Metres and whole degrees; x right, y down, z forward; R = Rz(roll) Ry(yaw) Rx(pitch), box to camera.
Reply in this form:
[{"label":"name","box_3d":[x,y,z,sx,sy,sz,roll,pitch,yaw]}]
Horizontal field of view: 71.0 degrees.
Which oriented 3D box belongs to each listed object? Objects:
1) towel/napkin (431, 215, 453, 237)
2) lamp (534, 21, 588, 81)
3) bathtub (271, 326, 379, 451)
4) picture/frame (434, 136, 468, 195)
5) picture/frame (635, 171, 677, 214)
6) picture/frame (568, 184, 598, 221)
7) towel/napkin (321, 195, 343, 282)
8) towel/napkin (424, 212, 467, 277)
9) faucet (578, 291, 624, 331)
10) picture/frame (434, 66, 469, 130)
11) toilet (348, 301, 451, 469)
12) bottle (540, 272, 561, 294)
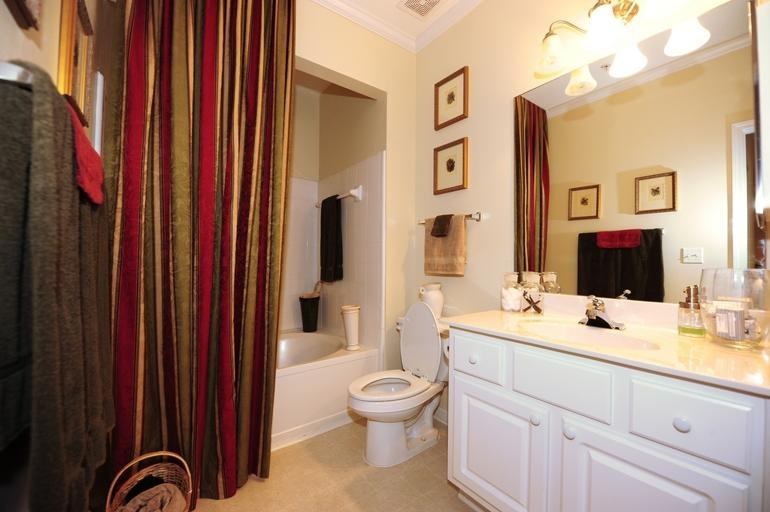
[{"label":"towel/napkin","box_3d":[0.384,-0.205,3.657,0.051,0.148,0.140,8,-2,-41]},{"label":"lamp","box_3d":[1.001,-1.149,3.033,0.261,0.417,0.170,22,-30,-9]},{"label":"bathtub","box_3d":[-0.489,0.876,3.716,0.684,0.305,0.677,3,-2,-38]},{"label":"picture/frame","box_3d":[0.444,-0.603,3.694,0.025,0.336,0.322,3,-5,-34]},{"label":"picture/frame","box_3d":[1.402,-0.328,2.776,0.220,0.269,0.026,0,-1,44]},{"label":"picture/frame","box_3d":[1.110,-0.298,3.006,0.023,0.218,0.190,1,3,-45]},{"label":"towel/napkin","box_3d":[-0.440,-0.140,4.364,0.143,0.686,0.323,0,2,-23]},{"label":"towel/napkin","box_3d":[0.417,-0.071,3.649,0.067,0.482,0.409,-1,3,-39]},{"label":"faucet","box_3d":[1.117,0.242,2.850,0.129,0.231,0.281,-3,0,-33]},{"label":"picture/frame","box_3d":[0.459,-1.066,3.669,0.036,0.488,0.474,0,0,-31]},{"label":"toilet","box_3d":[0.052,0.768,3.333,0.687,0.864,0.415,-6,7,-39]},{"label":"bottle","box_3d":[0.956,0.154,3.132,0.100,0.148,0.103,-1,4,0]}]
